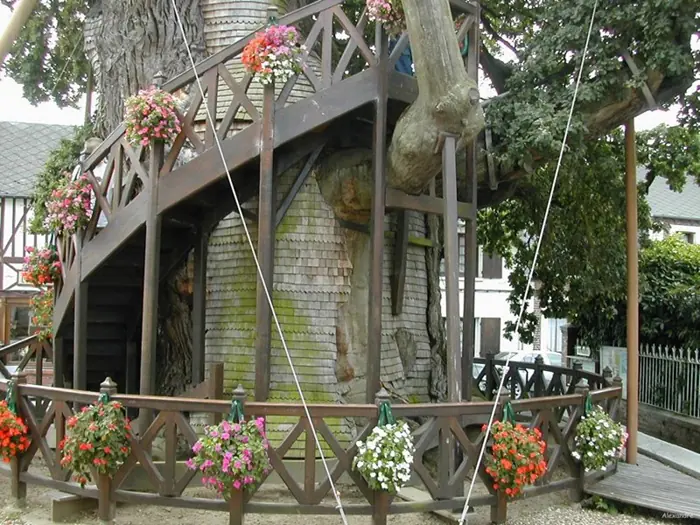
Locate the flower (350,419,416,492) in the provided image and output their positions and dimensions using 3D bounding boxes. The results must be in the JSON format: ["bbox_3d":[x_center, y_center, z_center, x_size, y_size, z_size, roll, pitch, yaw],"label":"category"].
[{"bbox_3d":[0.387,2.312,10.237,0.658,0.779,0.551,12,27,-2],"label":"flower"}]

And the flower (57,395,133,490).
[{"bbox_3d":[-2.997,2.085,10.675,0.607,0.831,0.568,-9,30,-42],"label":"flower"}]

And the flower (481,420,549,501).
[{"bbox_3d":[2.022,2.265,10.878,0.739,1.097,0.923,-1,1,31],"label":"flower"}]

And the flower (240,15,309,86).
[{"bbox_3d":[-0.982,-2.584,11.231,0.702,0.832,0.530,-25,-6,-11],"label":"flower"}]

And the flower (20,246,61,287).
[{"bbox_3d":[-4.483,0.058,13.024,0.520,0.658,0.583,-4,-4,22],"label":"flower"}]

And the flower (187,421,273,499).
[{"bbox_3d":[-1.384,2.258,10.302,0.802,0.857,0.875,-1,-4,17],"label":"flower"}]

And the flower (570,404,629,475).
[{"bbox_3d":[3.201,2.276,11.393,0.715,0.816,0.305,4,-7,-24],"label":"flower"}]

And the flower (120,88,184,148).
[{"bbox_3d":[-2.545,-1.817,11.517,0.517,0.571,0.534,-7,5,-26],"label":"flower"}]

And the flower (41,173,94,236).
[{"bbox_3d":[-3.878,-0.822,12.221,0.655,0.848,0.335,2,-6,-4],"label":"flower"}]
